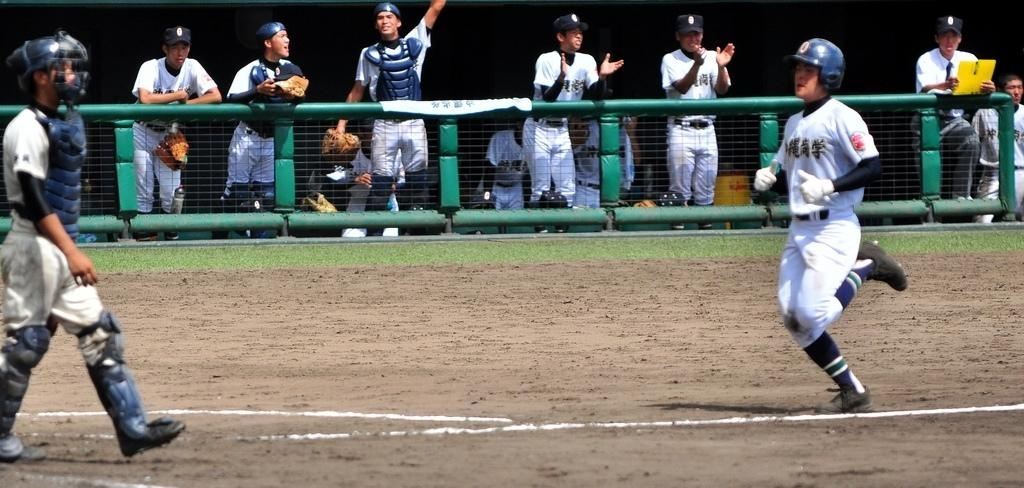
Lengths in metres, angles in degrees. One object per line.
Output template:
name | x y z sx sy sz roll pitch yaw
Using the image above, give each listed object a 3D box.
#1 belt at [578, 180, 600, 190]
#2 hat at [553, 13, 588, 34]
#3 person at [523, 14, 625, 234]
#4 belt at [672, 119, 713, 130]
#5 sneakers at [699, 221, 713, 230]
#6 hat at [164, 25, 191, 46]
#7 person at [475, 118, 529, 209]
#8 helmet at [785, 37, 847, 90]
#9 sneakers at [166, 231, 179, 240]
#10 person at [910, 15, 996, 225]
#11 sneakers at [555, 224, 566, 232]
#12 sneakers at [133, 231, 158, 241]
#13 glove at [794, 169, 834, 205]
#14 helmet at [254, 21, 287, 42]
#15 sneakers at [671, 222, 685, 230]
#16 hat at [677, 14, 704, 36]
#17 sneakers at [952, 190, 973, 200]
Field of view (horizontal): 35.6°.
belt | 1.045 -0.797 22.177 0.184 0.164 0.044 -30 32 17
hat | 0.783 -3.031 22.042 0.552 0.156 0.343 -1 1 27
person | 0.721 -1.661 22.234 1.137 2.980 0.928 2 18 2
belt | 2.470 -1.641 22.125 0.539 0.111 0.087 1 16 3
sneakers | 2.699 -0.240 22.443 0.284 0.125 0.073 1 18 7
hat | -4.615 -2.833 21.892 0.397 0.160 0.441 -1 3 -17
person | -0.158 -1.069 22.208 0.672 1.184 0.289 2 18 3
helmet | 3.299 -1.918 17.380 0.558 0.543 0.221 3 18 6
sneakers | -4.700 -0.101 22.022 0.203 0.086 0.214 3 -6 -9
person | 6.138 -1.885 22.449 0.960 2.530 0.597 14 22 34
sneakers | 0.667 -0.196 22.295 0.217 0.107 0.083 -3 49 1
sneakers | -5.054 -0.083 21.983 0.216 0.126 0.160 0 -2 14
glove | 3.249 -0.582 17.146 0.502 0.277 0.188 17 -9 6
helmet | -3.318 -2.874 21.756 0.506 0.191 0.416 -16 9 -4
sneakers | 2.317 -0.228 22.457 0.241 0.086 0.121 0 -2 -22
hat | 2.439 -3.005 22.064 0.325 0.240 0.208 0 16 -5
sneakers | 6.352 -0.662 22.539 0.246 0.059 0.118 4 -2 -5
